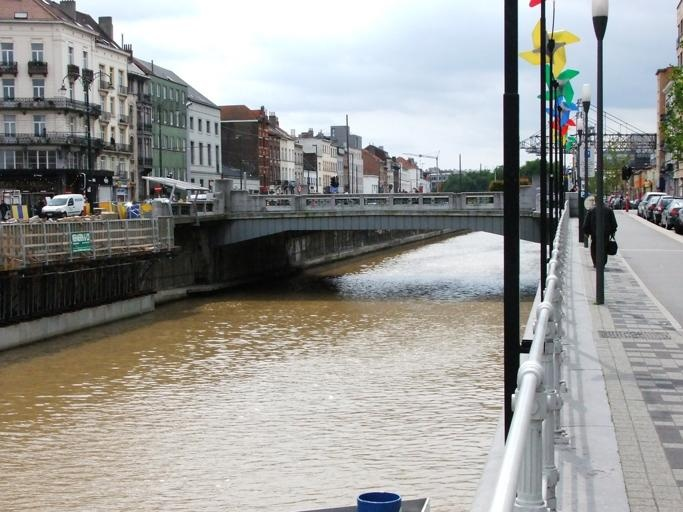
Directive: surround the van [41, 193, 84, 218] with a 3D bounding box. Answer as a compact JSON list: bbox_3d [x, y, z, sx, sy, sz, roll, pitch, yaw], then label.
[{"bbox_3d":[-14.664,-2.535,58.523,1.364,0.953,2.122,-2,-2,13],"label":"van"}]
